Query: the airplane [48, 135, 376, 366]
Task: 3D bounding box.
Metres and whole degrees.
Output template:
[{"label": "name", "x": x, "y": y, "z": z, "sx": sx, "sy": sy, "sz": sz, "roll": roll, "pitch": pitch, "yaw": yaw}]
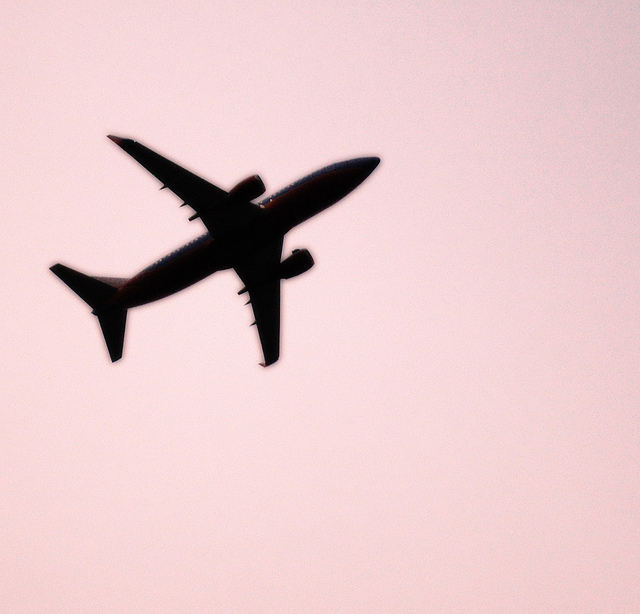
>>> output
[{"label": "airplane", "x": -4.039, "y": -2.849, "z": 55.725, "sx": 12.170, "sy": 4.454, "sz": 9.925, "roll": -23, "pitch": -73, "yaw": -9}]
